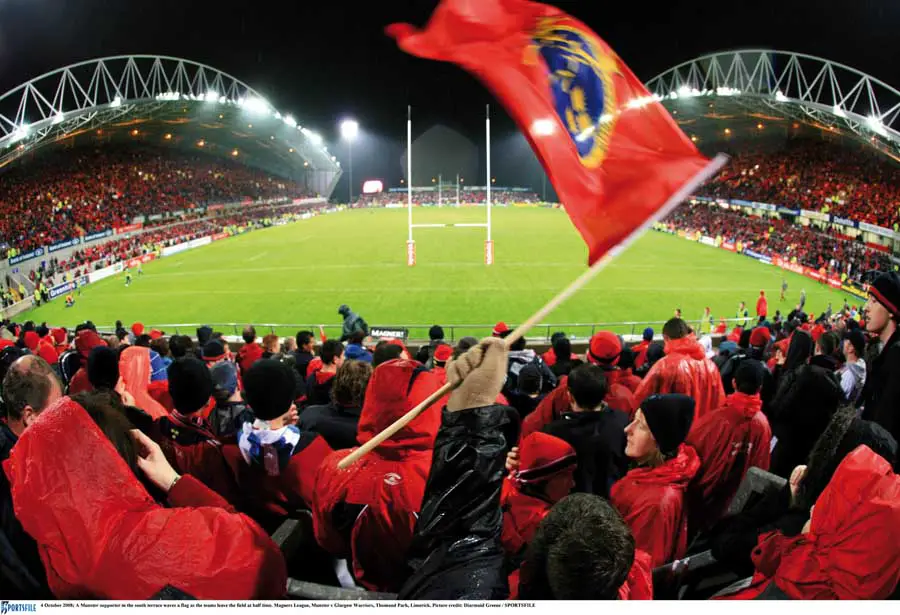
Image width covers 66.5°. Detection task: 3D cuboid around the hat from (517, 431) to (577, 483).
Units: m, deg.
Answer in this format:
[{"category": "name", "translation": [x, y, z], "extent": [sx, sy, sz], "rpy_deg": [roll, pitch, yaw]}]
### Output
[{"category": "hat", "translation": [0.677, 1.013, 4.832], "extent": [0.415, 0.284, 0.311], "rpy_deg": [-21, -2, 24]}]

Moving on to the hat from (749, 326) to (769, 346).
[{"category": "hat", "translation": [4.319, 0.401, 9.589], "extent": [0.256, 0.253, 0.389], "rpy_deg": [-5, -6, 30]}]

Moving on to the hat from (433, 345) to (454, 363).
[{"category": "hat", "translation": [-0.072, 0.533, 8.029], "extent": [0.284, 0.225, 0.424], "rpy_deg": [1, 9, 1]}]

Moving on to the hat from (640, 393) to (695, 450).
[{"category": "hat", "translation": [1.664, 0.856, 5.247], "extent": [0.381, 0.439, 0.316], "rpy_deg": [-5, -11, 9]}]

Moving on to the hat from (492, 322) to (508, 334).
[{"category": "hat", "translation": [0.731, 0.305, 9.899], "extent": [0.192, 0.160, 0.276], "rpy_deg": [1, 4, 9]}]
